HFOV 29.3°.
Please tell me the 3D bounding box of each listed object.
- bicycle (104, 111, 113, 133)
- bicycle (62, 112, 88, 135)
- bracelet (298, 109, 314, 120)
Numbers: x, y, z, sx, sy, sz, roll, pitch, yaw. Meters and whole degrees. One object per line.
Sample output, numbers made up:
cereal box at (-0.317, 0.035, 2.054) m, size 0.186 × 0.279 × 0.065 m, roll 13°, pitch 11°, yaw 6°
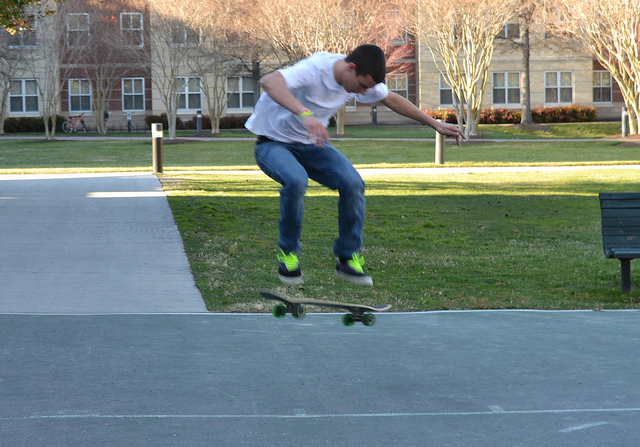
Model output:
bicycle at (-10.323, -5.037, 60.015) m, size 0.334 × 0.925 × 1.796 m, roll -3°, pitch 4°, yaw -9°
bicycle at (-11.888, -4.773, 58.986) m, size 0.875 × 0.921 × 1.546 m, roll -8°, pitch 14°, yaw 7°
bracelet at (-0.236, -1.898, 21.330) m, size 0.200 × 0.051 × 0.199 m, roll -16°, pitch 14°, yaw 12°
